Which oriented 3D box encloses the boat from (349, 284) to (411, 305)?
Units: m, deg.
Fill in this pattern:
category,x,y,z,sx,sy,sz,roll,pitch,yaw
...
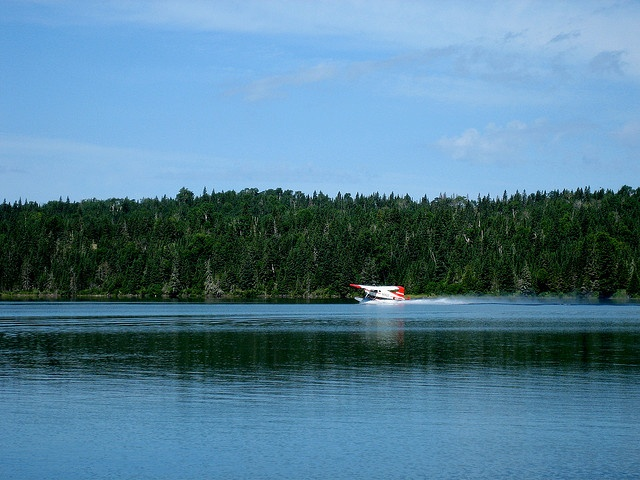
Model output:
category,x,y,z,sx,sy,sz,roll,pitch,yaw
boat,10.768,9.664,175.785,6.948,4.404,7.817,-1,7,-4
